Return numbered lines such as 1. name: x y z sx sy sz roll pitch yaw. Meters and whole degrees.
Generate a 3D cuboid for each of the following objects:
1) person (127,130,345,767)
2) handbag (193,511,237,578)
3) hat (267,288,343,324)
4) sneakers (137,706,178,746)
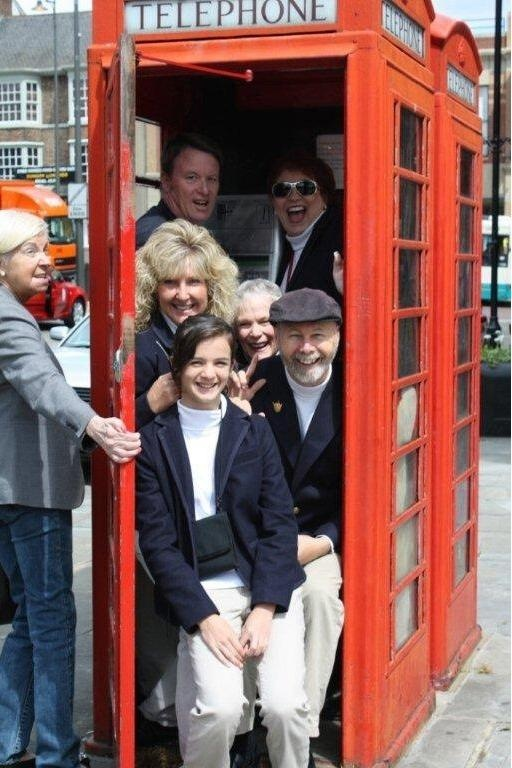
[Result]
1. person: -0.060 0.031 3.950 0.793 1.386 1.130 -2 2 4
2. handbag: -0.136 0.500 3.268 0.135 0.184 0.074 -15 7 -3
3. hat: 0.160 -0.265 3.558 0.243 0.116 0.138 -3 2 7
4. sneakers: -0.366 1.247 3.774 0.163 0.077 0.076 -3 2 13
